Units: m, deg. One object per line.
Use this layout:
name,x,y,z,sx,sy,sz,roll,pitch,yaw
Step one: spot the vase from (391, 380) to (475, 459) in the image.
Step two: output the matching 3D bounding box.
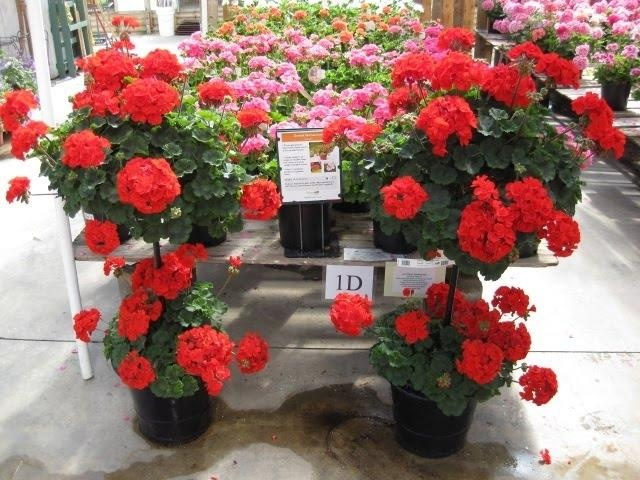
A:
vase,0.591,0.902,2.311,0.460,0.372,0.437,-3,-8,6

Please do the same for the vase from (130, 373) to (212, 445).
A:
vase,-0.765,0.832,2.279,0.267,0.250,0.248,-6,7,21

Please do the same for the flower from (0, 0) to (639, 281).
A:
flower,-0.011,-0.356,1.776,1.902,0.506,1.350,3,37,2

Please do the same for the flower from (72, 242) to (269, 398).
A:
flower,-0.685,0.333,2.168,0.699,0.504,0.877,0,6,-19

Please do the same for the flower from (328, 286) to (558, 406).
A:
flower,0.600,0.522,2.172,1.006,0.363,0.634,11,13,20
